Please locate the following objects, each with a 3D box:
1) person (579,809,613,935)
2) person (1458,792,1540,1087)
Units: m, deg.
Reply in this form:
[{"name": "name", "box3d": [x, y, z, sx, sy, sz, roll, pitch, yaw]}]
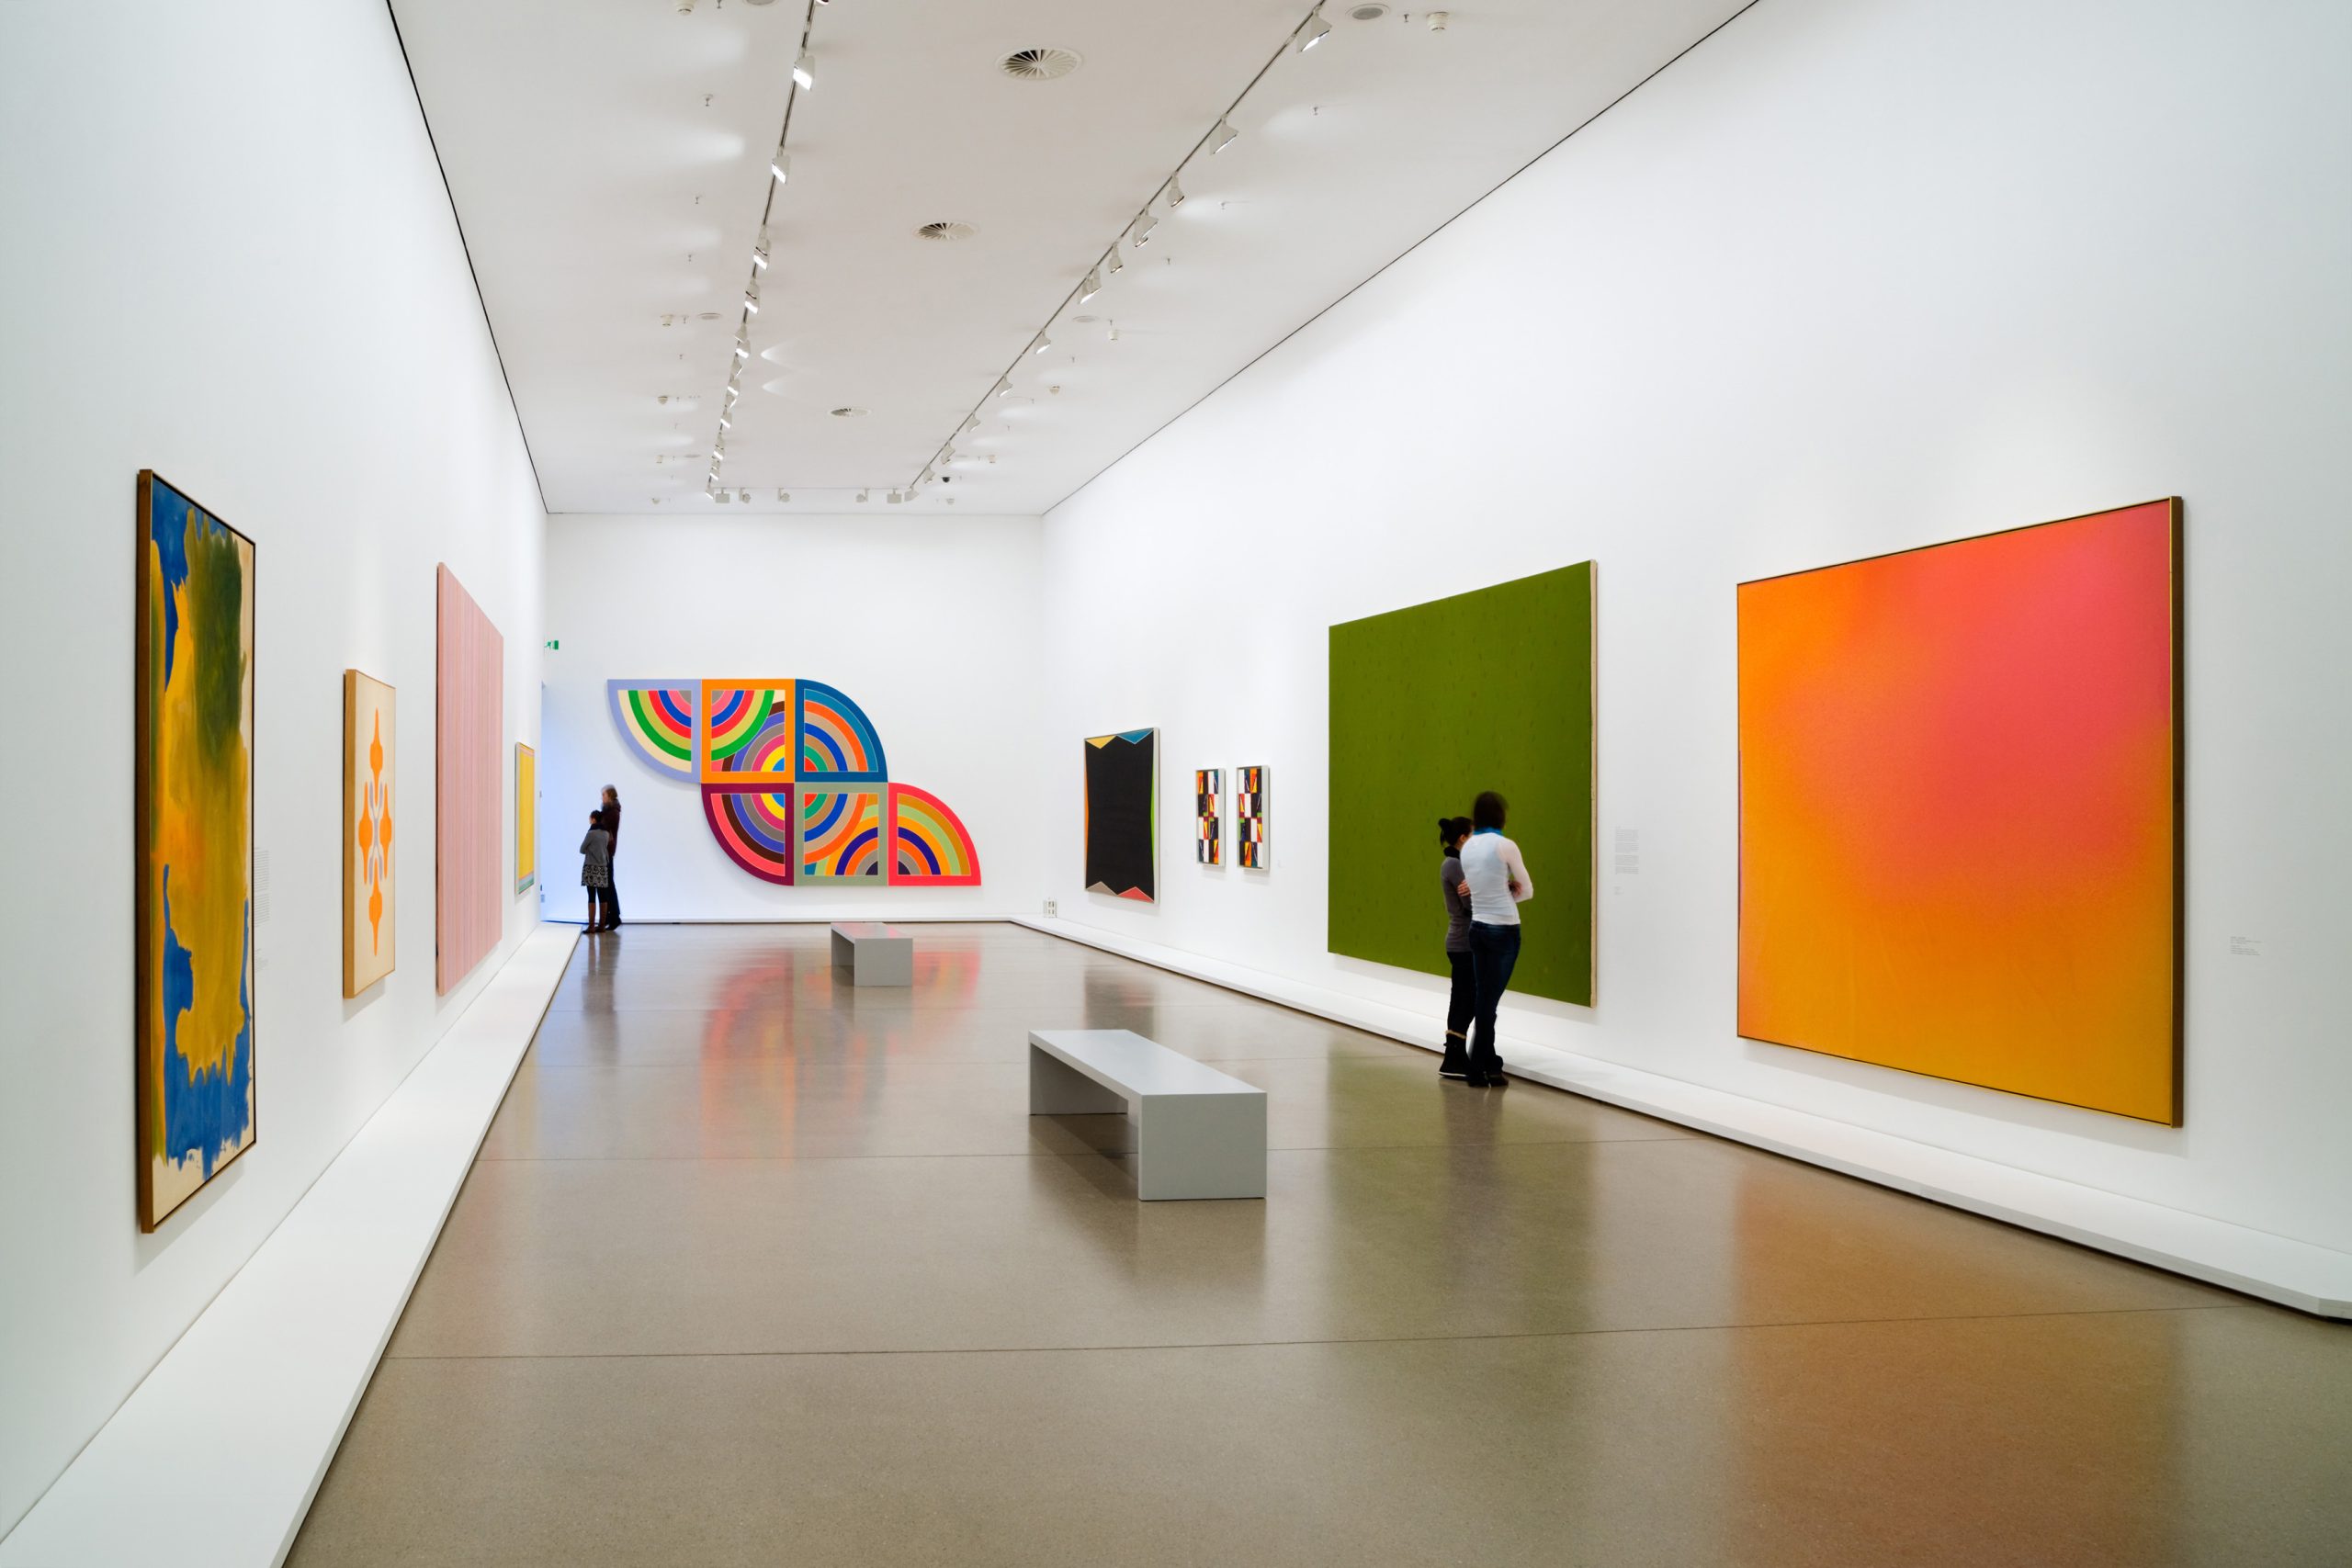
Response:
[{"name": "person", "box3d": [-8.319, 1.256, 22.187, 0.379, 1.540, 1.059, 0, 0, -22]}, {"name": "person", "box3d": [2.144, 1.060, 10.447, 0.429, 1.969, 0.638, 0, 0, 11]}]
